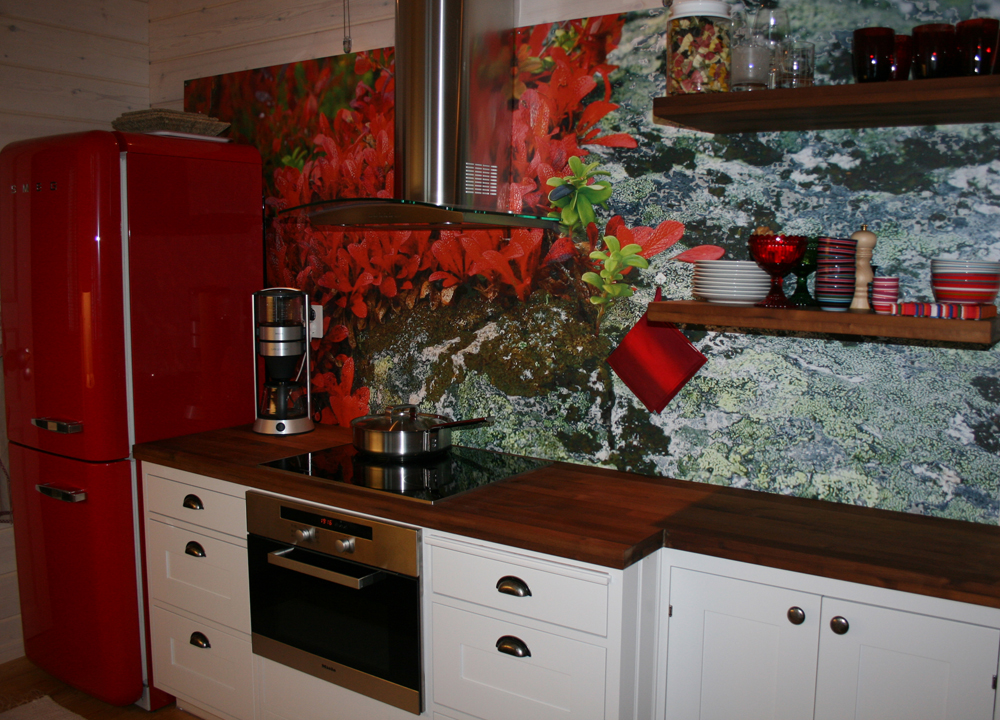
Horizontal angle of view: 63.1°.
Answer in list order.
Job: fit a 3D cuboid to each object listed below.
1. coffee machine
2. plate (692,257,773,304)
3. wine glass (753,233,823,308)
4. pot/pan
[{"bbox_3d":[-0.941,0.020,3.461,0.271,0.650,0.268,-6,13,-33],"label":"coffee machine"},{"bbox_3d":[0.711,-0.246,2.486,0.264,0.125,0.269,5,10,42],"label":"plate"},{"bbox_3d":[0.856,-0.288,2.467,0.183,0.234,0.158,2,11,3],"label":"wine glass"},{"bbox_3d":[-0.333,0.260,2.968,0.379,0.128,0.233,3,5,32],"label":"pot/pan"}]
